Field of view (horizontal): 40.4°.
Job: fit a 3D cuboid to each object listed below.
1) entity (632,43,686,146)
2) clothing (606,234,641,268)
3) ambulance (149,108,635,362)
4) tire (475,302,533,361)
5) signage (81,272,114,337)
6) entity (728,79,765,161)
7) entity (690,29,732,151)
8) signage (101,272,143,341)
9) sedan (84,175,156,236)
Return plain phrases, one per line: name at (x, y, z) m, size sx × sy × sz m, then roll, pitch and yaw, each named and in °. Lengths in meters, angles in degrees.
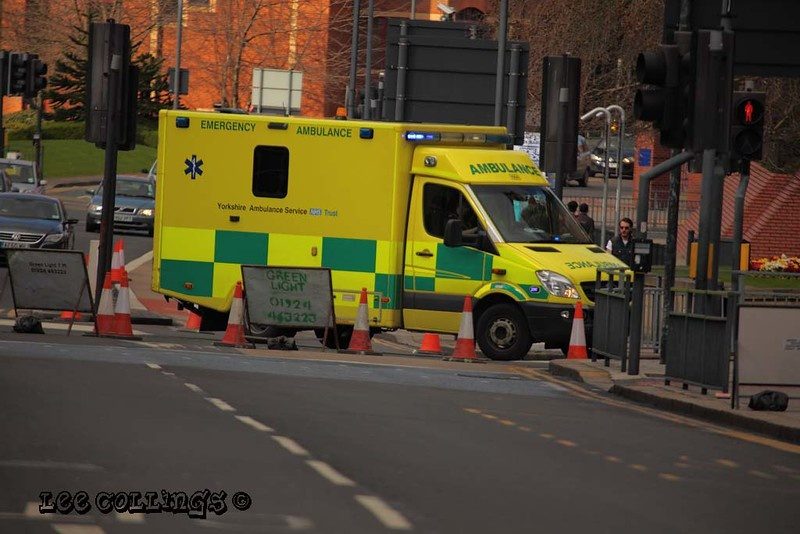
entity at (3.411, -2.229, 14.091) m, size 0.687 × 1.330 × 0.391 m, roll 3°, pitch 4°, yaw 13°
clothing at (3.740, -0.254, 18.015) m, size 0.539 × 0.564 × 0.297 m, roll -1°, pitch -4°, yaw -8°
ambulance at (-0.021, -0.614, 19.036) m, size 7.535 × 3.858 × 3.693 m, roll 0°, pitch 3°, yaw 9°
tire at (1.687, 1.039, 17.249) m, size 0.921 × 0.965 × 0.330 m, roll 4°, pitch 3°, yaw 28°
signage at (-4.709, 0.566, 17.329) m, size 0.836 × 0.990 × 0.853 m, roll 3°, pitch 0°, yaw -16°
entity at (4.566, -1.869, 14.220) m, size 0.415 × 0.907 × 0.506 m, roll 4°, pitch 4°, yaw 16°
entity at (3.958, -2.228, 13.700) m, size 0.472 × 1.513 × 0.209 m, roll 4°, pitch 4°, yaw 14°
signage at (-4.713, 0.624, 17.286) m, size 0.999 × 0.985 × 0.972 m, roll 9°, pitch -6°, yaw -23°
sedan at (-9.369, -2.057, 37.315) m, size 2.260 × 2.030 × 4.785 m, roll 5°, pitch 0°, yaw -13°
